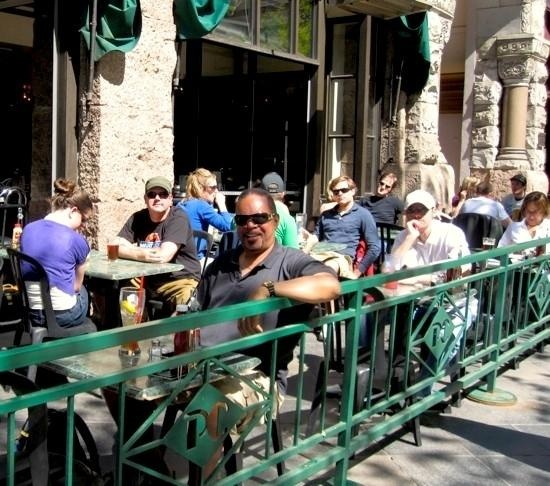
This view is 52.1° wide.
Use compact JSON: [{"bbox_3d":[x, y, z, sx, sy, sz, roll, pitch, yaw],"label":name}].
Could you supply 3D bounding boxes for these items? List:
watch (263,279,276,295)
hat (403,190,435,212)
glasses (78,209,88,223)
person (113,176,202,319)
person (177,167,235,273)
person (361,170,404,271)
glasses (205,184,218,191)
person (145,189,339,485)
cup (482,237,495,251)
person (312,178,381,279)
[{"bbox_3d":[-0.034,0.197,2.499,0.037,0.059,0.057,-14,15,-29],"label":"watch"},{"bbox_3d":[1.233,-0.359,4.785,0.157,0.134,0.222,-10,-9,21],"label":"hat"},{"bbox_3d":[-1.490,-0.210,4.337,0.076,0.095,0.102,3,1,-5],"label":"glasses"},{"bbox_3d":[-1.044,0.132,5.192,0.929,1.492,0.823,6,9,28],"label":"person"},{"bbox_3d":[-0.771,-0.164,6.543,0.669,1.287,0.542,1,18,-20],"label":"person"},{"bbox_3d":[1.489,-0.373,8.456,0.779,1.370,0.686,-6,19,-39],"label":"person"},{"bbox_3d":[-0.741,-0.635,6.405,0.106,0.037,0.147,-4,4,-18],"label":"glasses"},{"bbox_3d":[-0.207,0.536,2.894,0.897,1.658,0.873,5,-2,9],"label":"person"},{"bbox_3d":[1.844,0.014,4.904,0.109,0.169,0.106,2,-2,0],"label":"cup"},{"bbox_3d":[0.778,-0.249,6.979,0.905,1.204,0.711,2,11,6],"label":"person"}]
